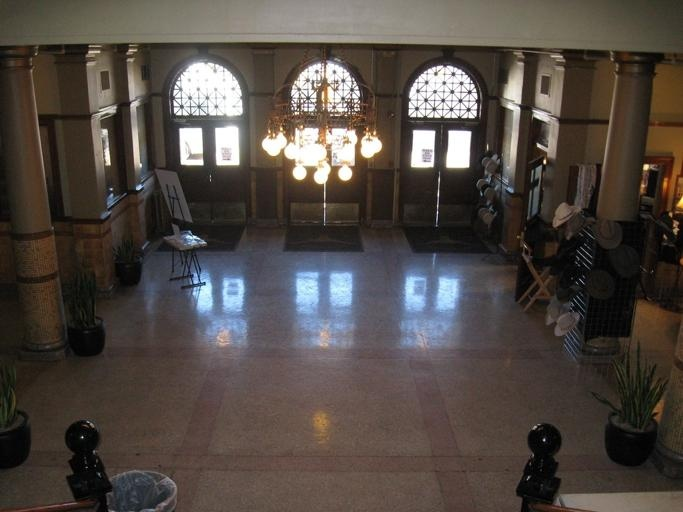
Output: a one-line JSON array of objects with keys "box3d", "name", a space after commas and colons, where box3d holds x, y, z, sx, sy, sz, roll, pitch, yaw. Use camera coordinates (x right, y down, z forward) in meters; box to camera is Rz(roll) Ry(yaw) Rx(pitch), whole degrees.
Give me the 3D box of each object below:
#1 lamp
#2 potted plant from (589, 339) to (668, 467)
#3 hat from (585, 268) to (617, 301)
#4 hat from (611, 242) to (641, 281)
[{"box3d": [-0.282, -2.561, 7.665, 1.523, 3.200, 1.390, 9, 24, 14], "name": "lamp"}, {"box3d": [3.460, 1.745, 5.967, 0.604, 1.289, 0.665, 14, -3, -27], "name": "potted plant"}, {"box3d": [3.772, 0.395, 7.378, 0.464, 0.429, 0.151, -2, 14, -4], "name": "hat"}, {"box3d": [4.040, 0.082, 7.279, 0.448, 0.531, 0.198, -7, 15, -22], "name": "hat"}]
